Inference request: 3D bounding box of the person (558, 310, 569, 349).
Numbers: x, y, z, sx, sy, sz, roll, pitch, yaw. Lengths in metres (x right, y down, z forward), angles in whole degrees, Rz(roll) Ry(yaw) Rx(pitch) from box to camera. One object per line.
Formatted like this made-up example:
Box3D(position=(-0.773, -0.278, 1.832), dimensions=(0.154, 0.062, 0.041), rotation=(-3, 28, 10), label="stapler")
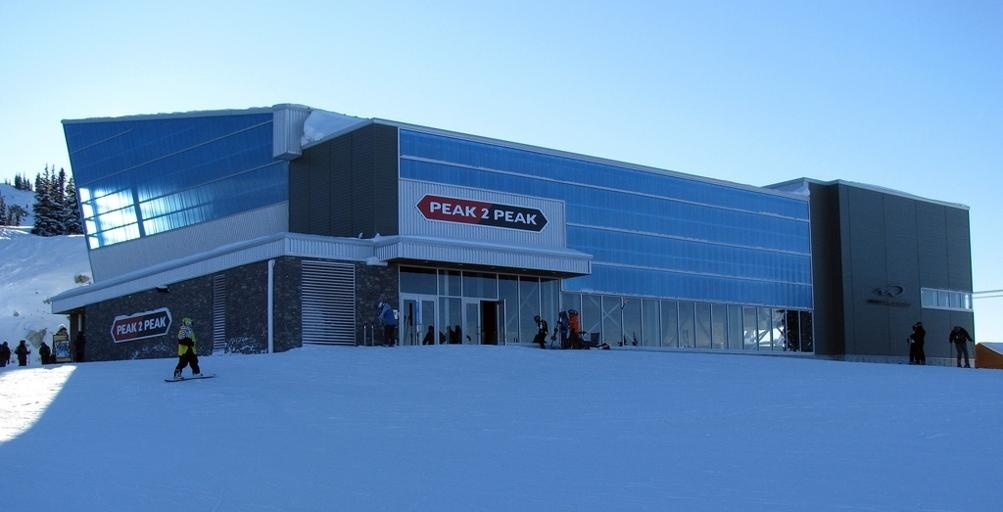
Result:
Box3D(position=(3.433, 3.948, 53.655), dimensions=(0.657, 1.950, 0.638), rotation=(-2, 4, -16), label="person")
